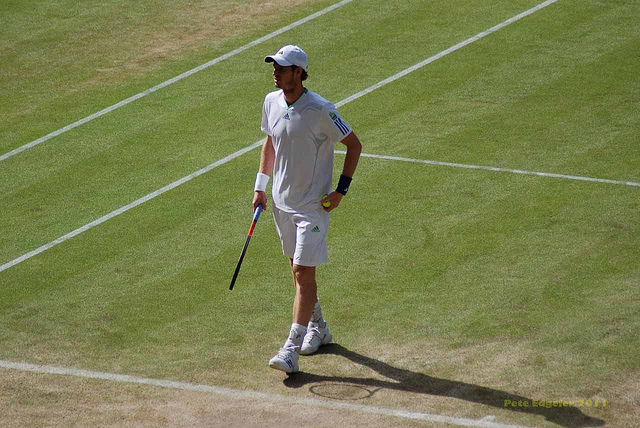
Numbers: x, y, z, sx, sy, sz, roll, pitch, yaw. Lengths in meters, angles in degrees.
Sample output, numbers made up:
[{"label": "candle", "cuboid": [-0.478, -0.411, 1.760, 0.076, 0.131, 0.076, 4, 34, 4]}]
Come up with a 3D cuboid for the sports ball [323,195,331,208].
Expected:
[{"label": "sports ball", "cuboid": [0.061, -0.156, 11.004, 0.090, 0.105, 0.126, -16, 31, -2]}]

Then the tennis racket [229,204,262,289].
[{"label": "tennis racket", "cuboid": [-0.965, 0.449, 12.633, 0.191, 0.110, 1.198, 23, 69, 16]}]
